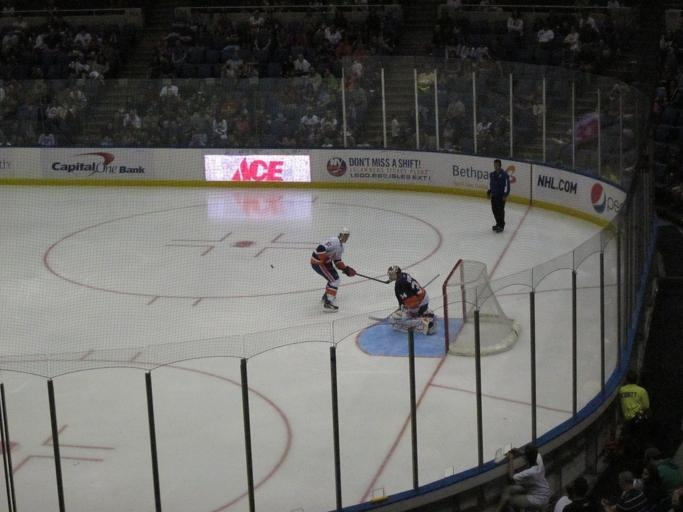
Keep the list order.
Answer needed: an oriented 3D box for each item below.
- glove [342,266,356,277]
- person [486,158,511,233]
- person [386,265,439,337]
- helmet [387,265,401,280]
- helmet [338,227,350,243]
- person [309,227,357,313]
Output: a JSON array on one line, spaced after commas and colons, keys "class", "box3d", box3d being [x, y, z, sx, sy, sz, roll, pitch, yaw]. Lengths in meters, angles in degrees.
[{"class": "glove", "box3d": [0.141, 0.243, 16.601, 0.216, 0.075, 0.155, 31, -40, -32]}, {"class": "person", "box3d": [3.303, -1.307, 19.987, 0.427, 1.512, 0.761, 1, 13, 8]}, {"class": "person", "box3d": [1.077, 0.691, 15.078, 0.850, 1.140, 0.506, 2, 21, 39]}, {"class": "helmet", "box3d": [0.814, 0.272, 15.280, 0.237, 0.226, 0.204, 6, 2, 12]}, {"class": "helmet", "box3d": [0.092, -0.394, 16.706, 0.266, 0.257, 0.198, -9, 23, -16]}, {"class": "person", "box3d": [-0.158, 0.152, 16.891, 0.737, 1.353, 1.604, -2, 13, -2]}]
